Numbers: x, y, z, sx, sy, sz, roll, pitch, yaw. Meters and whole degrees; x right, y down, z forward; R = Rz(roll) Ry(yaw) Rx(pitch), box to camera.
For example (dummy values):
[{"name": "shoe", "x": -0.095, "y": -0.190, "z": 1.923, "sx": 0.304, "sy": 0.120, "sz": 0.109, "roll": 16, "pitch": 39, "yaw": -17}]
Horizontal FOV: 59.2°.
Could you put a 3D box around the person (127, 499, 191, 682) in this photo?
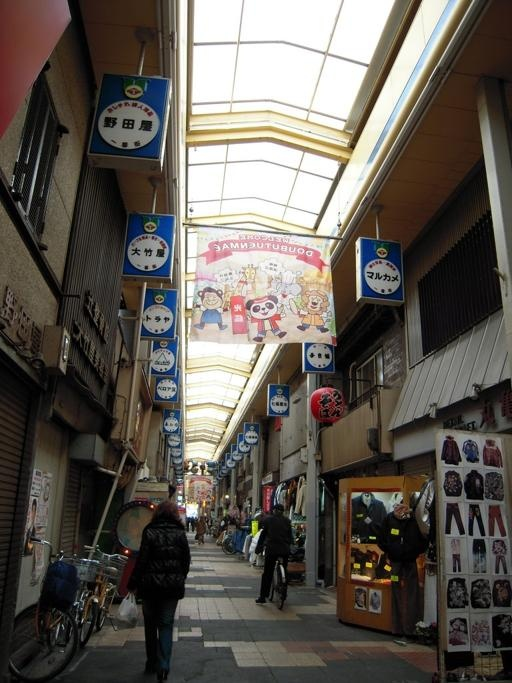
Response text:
[{"name": "person", "x": -0.872, "y": 2.205, "z": 4.037, "sx": 0.504, "sy": 1.456, "sz": 0.604, "roll": 7, "pitch": -21, "yaw": -9}]

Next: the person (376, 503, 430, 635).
[{"name": "person", "x": 2.041, "y": 3.158, "z": 6.237, "sx": 0.623, "sy": 1.667, "sz": 0.500, "roll": -2, "pitch": -21, "yaw": 16}]

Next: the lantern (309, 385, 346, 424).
[{"name": "lantern", "x": 1.764, "y": 1.566, "z": 11.041, "sx": 0.731, "sy": 1.033, "sz": 0.794, "roll": -4, "pitch": -9, "yaw": 10}]

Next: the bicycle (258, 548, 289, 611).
[{"name": "bicycle", "x": 0.310, "y": 4.529, "z": 8.629, "sx": 0.529, "sy": 0.751, "sz": 1.161, "roll": 10, "pitch": -31, "yaw": 0}]

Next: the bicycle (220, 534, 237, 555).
[{"name": "bicycle", "x": -1.322, "y": 9.910, "z": 22.006, "sx": 0.463, "sy": 0.900, "sz": 1.662, "roll": 7, "pitch": -22, "yaw": -10}]
